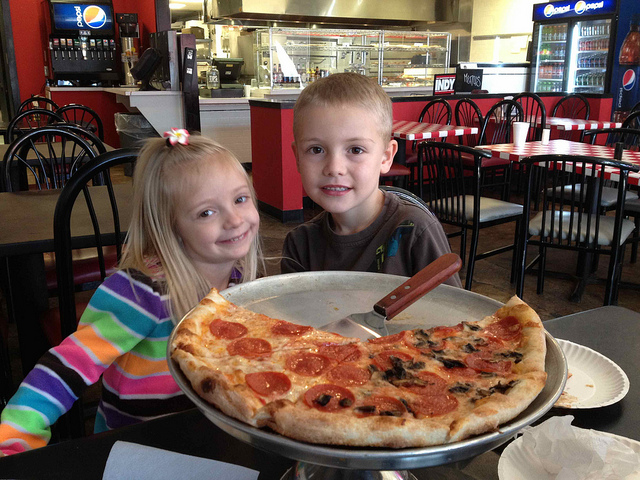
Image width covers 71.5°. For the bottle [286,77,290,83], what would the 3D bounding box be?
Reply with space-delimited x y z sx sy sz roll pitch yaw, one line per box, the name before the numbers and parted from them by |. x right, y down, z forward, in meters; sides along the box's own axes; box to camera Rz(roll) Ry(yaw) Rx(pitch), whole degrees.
bottle | -0.505 -2.481 6.858 0.061 0.112 0.061 0 21 0

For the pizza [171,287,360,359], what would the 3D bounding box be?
pizza | -0.081 0.146 0.779 0.318 0.053 0.182 0 18 -1

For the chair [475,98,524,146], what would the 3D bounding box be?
chair | 2.087 -1.428 5.366 0.456 0.631 0.460 -3 21 -24

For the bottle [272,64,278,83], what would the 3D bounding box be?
bottle | -0.694 -2.531 6.717 0.095 0.259 0.032 -17 24 -40

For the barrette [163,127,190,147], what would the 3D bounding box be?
barrette | -0.366 -0.268 1.132 0.056 0.014 0.057 4 42 -5

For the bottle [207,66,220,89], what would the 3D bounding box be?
bottle | -1.580 -2.414 6.548 0.174 0.317 0.402 -5 19 -12

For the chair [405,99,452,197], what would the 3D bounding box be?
chair | 1.171 -1.153 5.350 0.670 1.048 0.606 -14 20 -38

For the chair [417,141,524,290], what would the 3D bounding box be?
chair | 1.071 -0.220 3.261 0.646 1.013 0.645 -15 20 -33

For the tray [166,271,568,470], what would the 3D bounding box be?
tray | 0.041 0.034 0.760 0.641 0.281 0.474 -4 13 -20
